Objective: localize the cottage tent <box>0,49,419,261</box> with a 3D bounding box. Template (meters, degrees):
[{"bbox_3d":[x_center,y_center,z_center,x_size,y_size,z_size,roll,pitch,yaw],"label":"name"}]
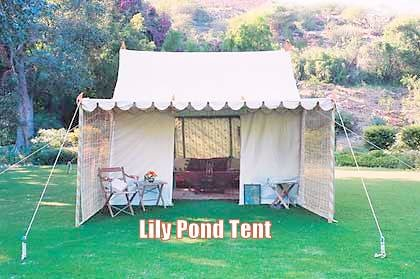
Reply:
[{"bbox_3d":[0.003,-0.279,13.977,7.480,5.384,4.694,0,13,0],"label":"cottage tent"}]

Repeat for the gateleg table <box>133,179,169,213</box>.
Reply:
[{"bbox_3d":[-1.952,1.930,13.670,0.993,0.930,1.062,0,1,-21],"label":"gateleg table"}]

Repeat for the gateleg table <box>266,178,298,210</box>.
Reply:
[{"bbox_3d":[2.390,1.814,13.778,1.059,0.992,0.912,-7,-14,42],"label":"gateleg table"}]
